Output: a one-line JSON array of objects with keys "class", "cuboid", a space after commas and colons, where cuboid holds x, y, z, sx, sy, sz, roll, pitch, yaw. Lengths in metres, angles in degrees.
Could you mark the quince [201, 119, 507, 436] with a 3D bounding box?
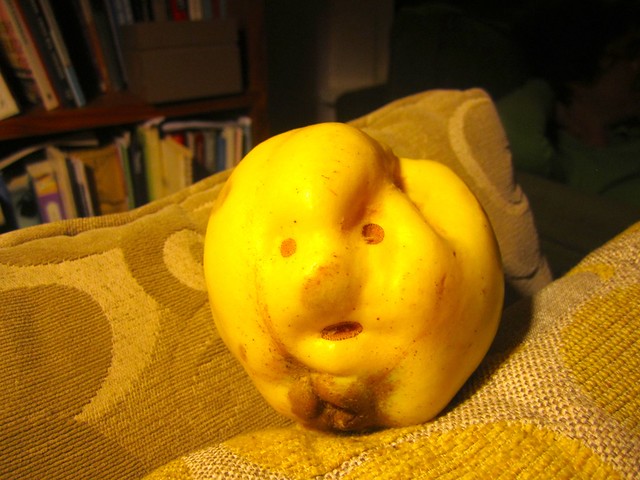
[{"class": "quince", "cuboid": [0.036, 0.070, 0.839, 0.403, 0.253, 0.429, -2, 57, 2]}]
